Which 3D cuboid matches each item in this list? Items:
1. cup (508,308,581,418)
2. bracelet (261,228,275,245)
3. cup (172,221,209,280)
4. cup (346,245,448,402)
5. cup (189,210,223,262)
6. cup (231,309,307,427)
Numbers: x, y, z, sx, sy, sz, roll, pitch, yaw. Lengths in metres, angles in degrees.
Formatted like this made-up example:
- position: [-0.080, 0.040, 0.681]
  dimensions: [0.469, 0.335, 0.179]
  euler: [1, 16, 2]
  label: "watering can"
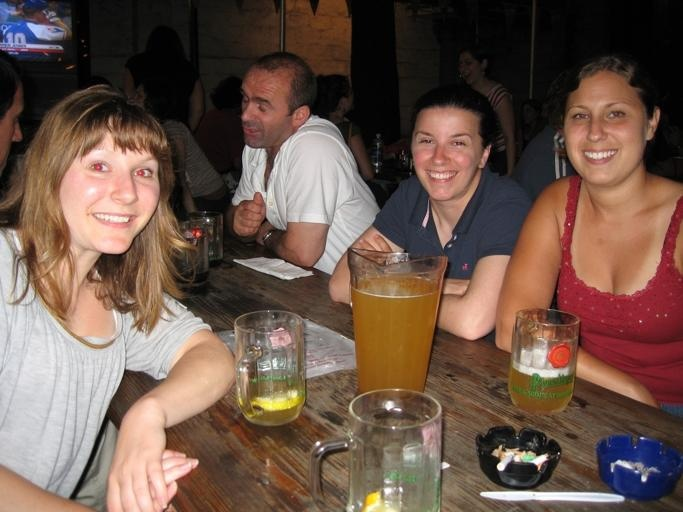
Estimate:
- position: [0.433, 0.233, 1.116]
  dimensions: [0.143, 0.214, 0.134]
  euler: [6, 9, -1]
  label: "cup"
- position: [-0.360, -0.099, 2.503]
  dimensions: [0.020, 0.069, 0.064]
  euler: [25, 30, 4]
  label: "bracelet"
- position: [-0.519, -0.018, 1.834]
  dimensions: [0.127, 0.203, 0.125]
  euler: [-2, -9, 0]
  label: "cup"
- position: [0.111, 0.140, 1.045]
  dimensions: [0.195, 0.285, 0.146]
  euler: [0, 20, 2]
  label: "cup"
- position: [-0.546, -0.060, 2.051]
  dimensions: [0.139, 0.221, 0.134]
  euler: [-4, 9, 1]
  label: "cup"
- position: [-0.156, 0.240, 1.049]
  dimensions: [0.146, 0.223, 0.230]
  euler: [0, 9, 11]
  label: "cup"
